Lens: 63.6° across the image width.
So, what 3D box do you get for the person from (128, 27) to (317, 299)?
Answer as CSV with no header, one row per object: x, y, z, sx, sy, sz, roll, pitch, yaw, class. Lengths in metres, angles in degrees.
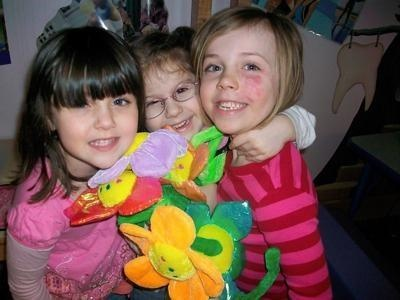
0.075,-0.107,1.646,0.699,1.008,0.318,-23,4,10,person
